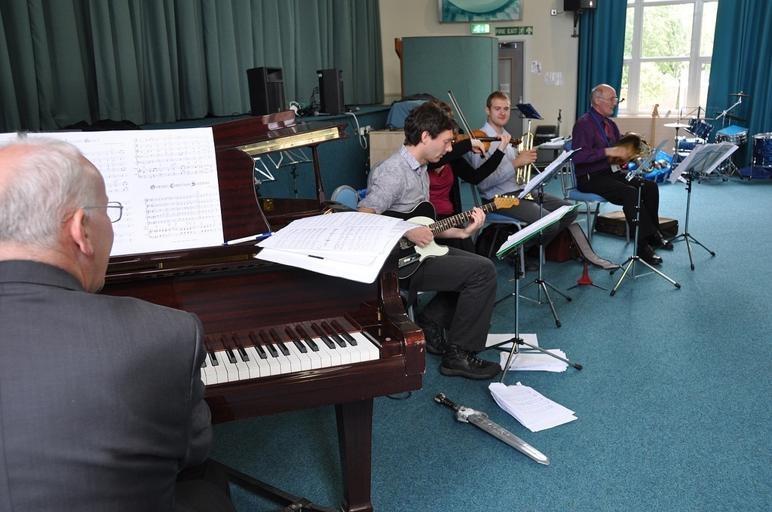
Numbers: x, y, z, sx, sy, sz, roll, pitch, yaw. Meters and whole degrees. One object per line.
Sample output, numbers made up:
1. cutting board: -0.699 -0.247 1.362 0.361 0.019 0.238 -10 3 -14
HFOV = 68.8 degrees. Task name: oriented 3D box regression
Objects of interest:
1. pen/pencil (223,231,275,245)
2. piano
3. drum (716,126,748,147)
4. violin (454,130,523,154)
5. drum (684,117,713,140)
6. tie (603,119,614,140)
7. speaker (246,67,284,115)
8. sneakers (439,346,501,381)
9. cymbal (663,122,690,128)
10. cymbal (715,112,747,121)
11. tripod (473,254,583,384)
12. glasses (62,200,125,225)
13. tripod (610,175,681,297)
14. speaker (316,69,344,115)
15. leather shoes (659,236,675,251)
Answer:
1. pen/pencil: -0.538 -0.067 2.185 0.175 0.017 0.019 -14 7 -28
2. piano: -0.523 0.022 2.457 1.429 1.453 1.110 9 14 43
3. drum: 4.790 -1.656 7.853 0.339 0.207 0.574 13 26 34
4. violin: 0.873 -0.916 4.525 0.711 0.096 0.282 7 6 -5
5. drum: 4.378 -1.745 7.868 0.398 0.289 0.295 -20 27 -37
6. tie: 2.154 -1.223 5.518 0.091 0.201 0.029 -9 -6 -32
7. speaker: -0.779 -1.069 3.704 0.226 0.312 0.349 -7 22 -11
8. sneakers: 0.474 0.633 3.384 0.397 0.245 0.152 -2 11 4
9. cymbal: 4.412 -1.979 8.559 0.394 0.089 0.389 3 16 18
10. cymbal: 5.172 -2.083 8.444 0.349 0.079 0.340 12 4 -26
11. tripod: 0.826 0.267 3.680 0.692 0.839 0.705 -10 16 -22
12. glasses: -0.783 -0.118 1.505 0.121 0.036 0.116 -7 3 -2
13. tripod: 2.203 -0.158 4.608 0.482 0.742 1.183 9 24 27
14. speaker: -0.588 -1.679 5.821 0.282 0.451 0.215 3 23 14
15. leather shoes: 2.703 -0.122 5.435 0.079 0.088 0.234 5 15 36
